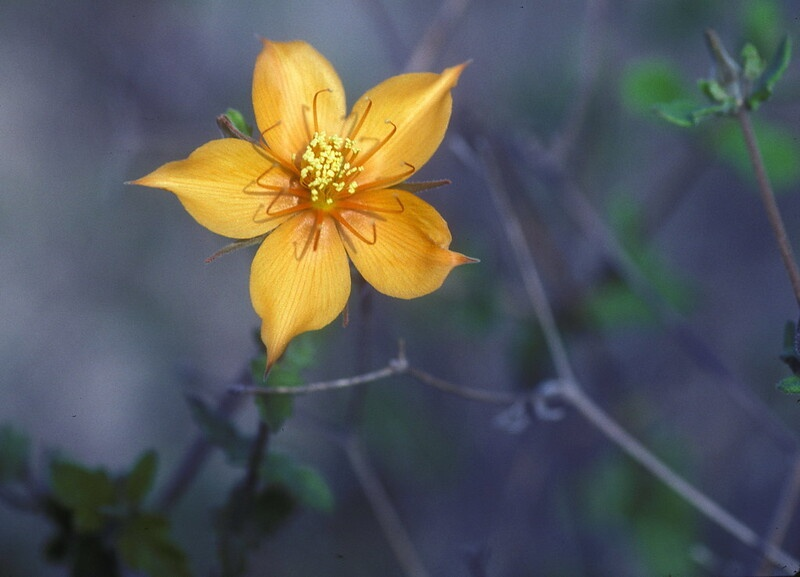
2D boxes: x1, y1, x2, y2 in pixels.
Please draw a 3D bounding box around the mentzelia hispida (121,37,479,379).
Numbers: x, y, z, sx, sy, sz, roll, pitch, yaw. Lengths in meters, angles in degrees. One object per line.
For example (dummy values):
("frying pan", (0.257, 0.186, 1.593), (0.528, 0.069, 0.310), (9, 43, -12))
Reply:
("mentzelia hispida", (-0.103, -0.098, 1.195), (0.529, 0.491, 0.139), (-41, -31, -28))
